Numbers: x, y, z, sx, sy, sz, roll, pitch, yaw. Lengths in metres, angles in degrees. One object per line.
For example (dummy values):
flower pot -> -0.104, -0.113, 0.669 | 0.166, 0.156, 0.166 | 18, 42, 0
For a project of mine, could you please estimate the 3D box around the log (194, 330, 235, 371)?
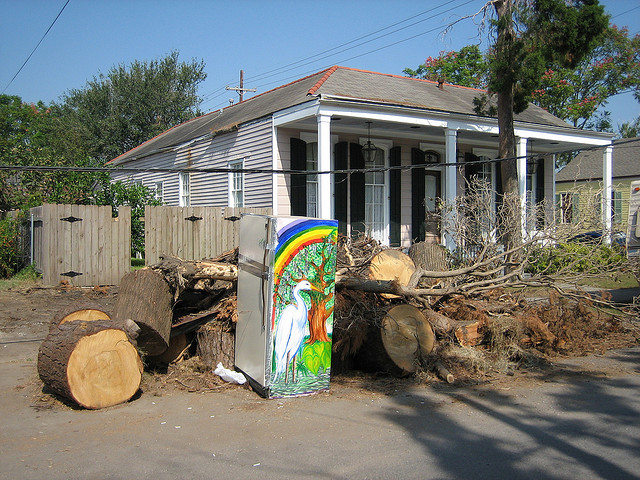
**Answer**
log -> -1.542, 1.631, 7.799 | 0.482, 0.578, 0.527 | 5, -14, -22

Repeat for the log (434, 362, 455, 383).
log -> 1.860, 1.975, 8.021 | 0.114, 0.129, 0.409 | 26, 12, -14

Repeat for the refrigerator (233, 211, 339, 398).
refrigerator -> -0.473, 0.869, 7.172 | 1.357, 2.414, 0.839 | 1, 7, -1

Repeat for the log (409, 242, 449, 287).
log -> 2.624, 0.529, 11.577 | 0.691, 0.867, 0.735 | -7, -8, 16

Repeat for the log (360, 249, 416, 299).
log -> 1.193, 0.636, 9.510 | 0.800, 0.873, 0.200 | 24, -38, -3

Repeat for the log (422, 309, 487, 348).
log -> 2.362, 1.424, 8.967 | 0.731, 0.227, 0.792 | 34, -48, -5

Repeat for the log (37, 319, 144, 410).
log -> -2.934, 1.368, 6.804 | 0.966, 1.075, 1.178 | -5, 1, -30
